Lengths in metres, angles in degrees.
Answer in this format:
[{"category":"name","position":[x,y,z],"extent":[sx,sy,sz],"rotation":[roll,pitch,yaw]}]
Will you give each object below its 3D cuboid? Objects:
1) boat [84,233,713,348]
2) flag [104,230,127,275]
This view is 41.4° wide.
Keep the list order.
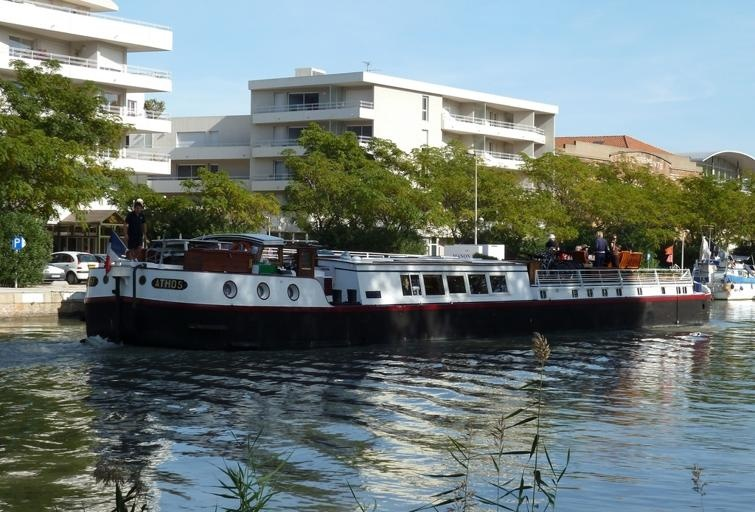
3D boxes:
[{"category":"boat","position":[3.643,1.154,39.973],"extent":[29.096,5.062,5.282],"rotation":[-5,11,-38]},{"category":"flag","position":[-8.472,-0.191,32.272],"extent":[0.680,1.356,1.252],"rotation":[0,9,-14]}]
